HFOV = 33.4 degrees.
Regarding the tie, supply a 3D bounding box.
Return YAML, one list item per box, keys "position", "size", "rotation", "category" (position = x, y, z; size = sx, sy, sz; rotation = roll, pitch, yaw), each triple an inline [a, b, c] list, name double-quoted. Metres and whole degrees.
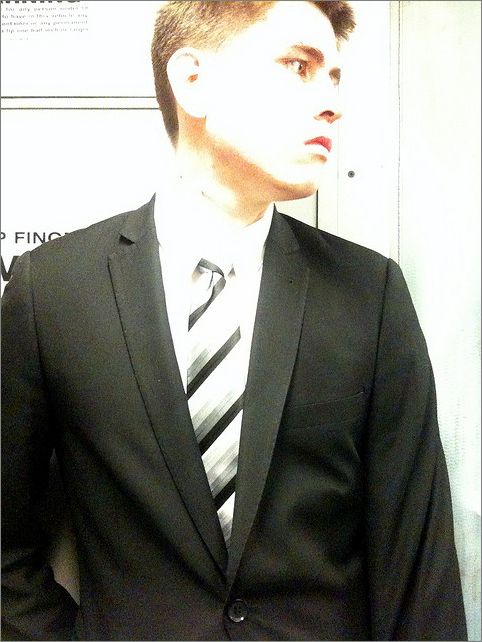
- position: [-0.040, 0.149, 1.433]
  size: [0.084, 0.488, 0.038]
  rotation: [-4, -7, -11]
  category: "tie"
